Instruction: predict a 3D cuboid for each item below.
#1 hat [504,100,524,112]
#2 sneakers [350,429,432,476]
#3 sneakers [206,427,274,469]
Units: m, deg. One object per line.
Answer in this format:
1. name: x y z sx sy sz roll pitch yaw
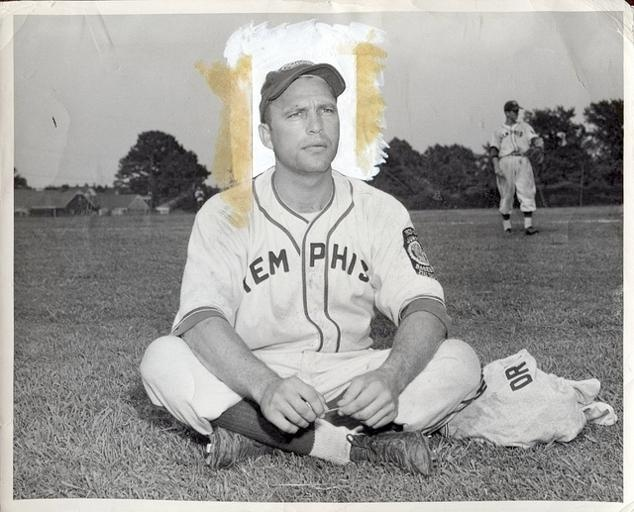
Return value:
1. hat: 0.825 -0.625 2.534 0.044 0.035 0.060 -6 6 -34
2. sneakers: 0.272 0.719 2.218 0.237 0.116 0.162 6 48 -4
3. sneakers: -0.287 0.709 2.203 0.199 0.159 0.093 3 -7 -4
